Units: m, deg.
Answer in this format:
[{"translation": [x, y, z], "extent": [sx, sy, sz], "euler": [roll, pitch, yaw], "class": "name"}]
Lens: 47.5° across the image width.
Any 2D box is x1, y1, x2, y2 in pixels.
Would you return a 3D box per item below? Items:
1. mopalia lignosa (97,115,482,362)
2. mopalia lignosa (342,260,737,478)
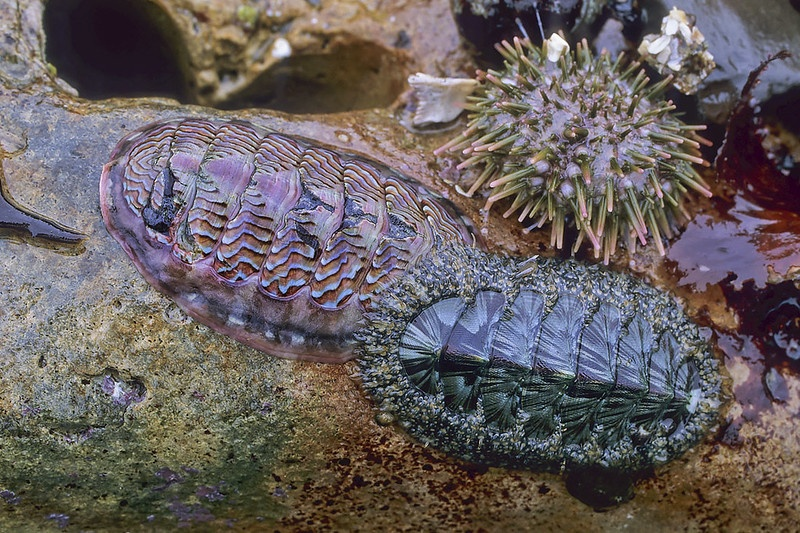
[{"translation": [-0.955, -0.174, 7.380], "extent": [2.654, 0.681, 1.662], "euler": [17, 80, -6], "class": "mopalia lignosa"}, {"translation": [1.099, 0.762, 7.584], "extent": [2.669, 0.768, 1.503], "euler": [6, 96, -1], "class": "mopalia lignosa"}]
